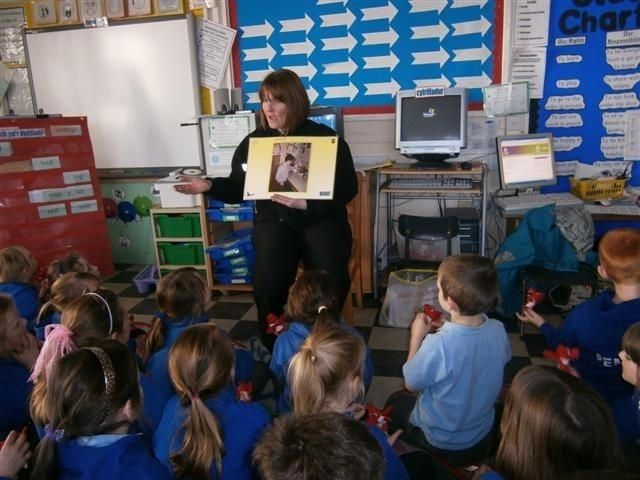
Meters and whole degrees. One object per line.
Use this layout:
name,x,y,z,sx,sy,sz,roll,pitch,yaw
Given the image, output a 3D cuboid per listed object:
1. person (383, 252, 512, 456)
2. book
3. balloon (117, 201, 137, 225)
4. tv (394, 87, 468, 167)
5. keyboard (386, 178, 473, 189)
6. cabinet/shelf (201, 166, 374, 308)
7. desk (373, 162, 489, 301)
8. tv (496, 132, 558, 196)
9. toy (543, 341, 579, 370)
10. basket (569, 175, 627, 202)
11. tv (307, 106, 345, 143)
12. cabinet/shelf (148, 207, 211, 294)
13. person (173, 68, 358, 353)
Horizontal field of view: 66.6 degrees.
person,0.538,0.485,2.075,0.503,0.837,0.389,2,10,21
book,-0.148,-0.366,2.535,0.364,0.252,0.013,1,-9,10
balloon,-1.849,-0.272,4.685,0.167,0.160,0.219,-22,36,-33
tv,0.917,-0.898,3.864,0.577,0.550,0.322,5,15,29
keyboard,0.820,-0.411,3.634,0.635,0.072,0.306,0,10,10
cabinet/shelf,-0.317,-0.046,3.682,0.830,1.404,0.828,3,9,16
desk,0.883,-0.116,3.881,0.808,0.953,0.561,1,13,14
tv,1.624,-0.601,3.814,0.500,0.477,0.173,-4,3,0
toy,1.023,0.491,2.087,0.150,0.065,0.153,-4,22,-4
basket,2.092,-0.384,3.647,0.293,0.134,0.205,1,9,16
tv,0.044,-0.950,3.871,0.306,0.284,0.170,2,40,8
cabinet/shelf,-1.110,0.048,4.155,0.425,0.698,0.490,0,25,2
person,-0.222,-0.160,2.605,0.835,1.453,0.535,-1,9,4
